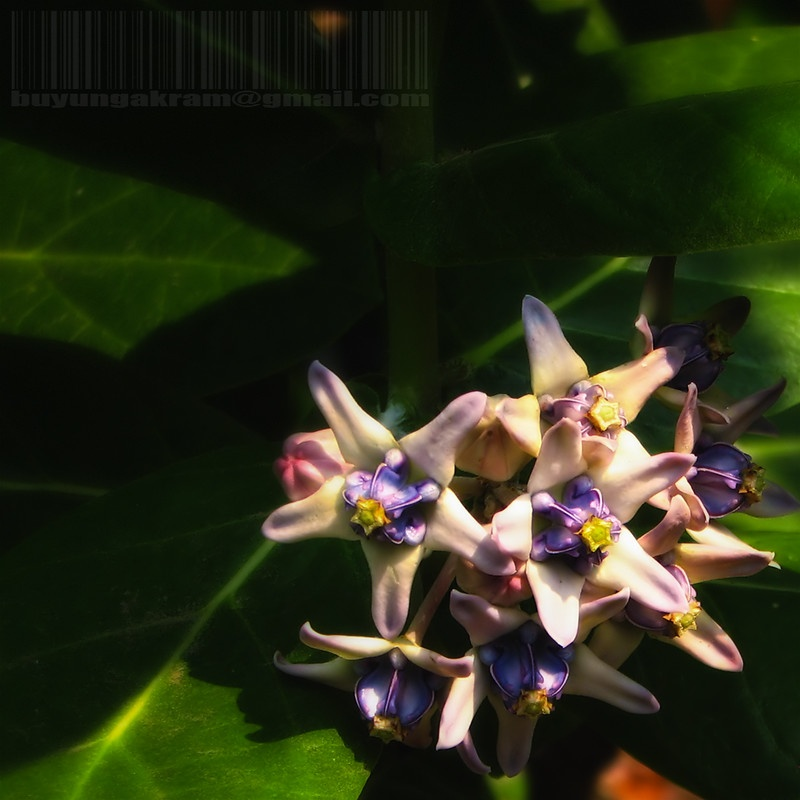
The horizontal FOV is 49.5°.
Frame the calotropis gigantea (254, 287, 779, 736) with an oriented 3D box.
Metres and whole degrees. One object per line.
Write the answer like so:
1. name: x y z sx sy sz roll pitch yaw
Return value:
1. calotropis gigantea: 0.117 0.095 1.297 0.814 0.540 0.372 -7 6 -10
